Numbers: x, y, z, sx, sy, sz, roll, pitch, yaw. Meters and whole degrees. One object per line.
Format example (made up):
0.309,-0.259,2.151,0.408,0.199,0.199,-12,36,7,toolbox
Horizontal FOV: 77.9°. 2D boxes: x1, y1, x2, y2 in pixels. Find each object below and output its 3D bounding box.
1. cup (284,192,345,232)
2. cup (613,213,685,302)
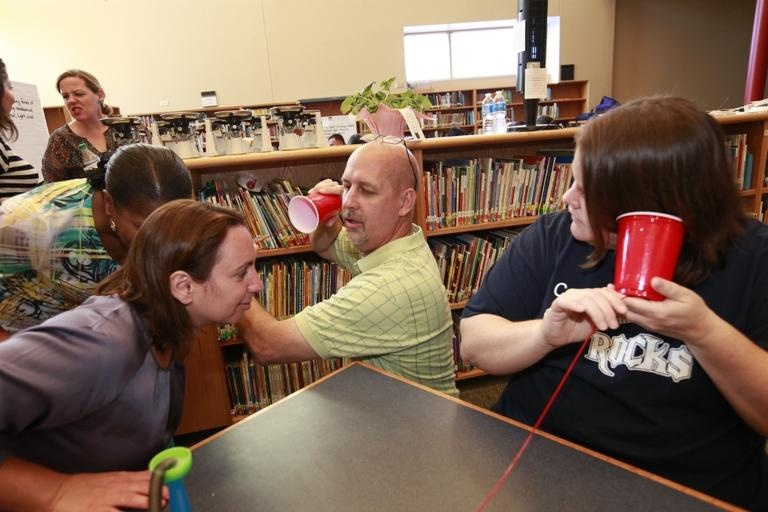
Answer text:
-0.290,-0.192,2.053,0.200,0.127,0.133,-24,5,-40,cup
0.682,-0.004,1.231,0.150,0.213,0.122,4,21,30,cup
